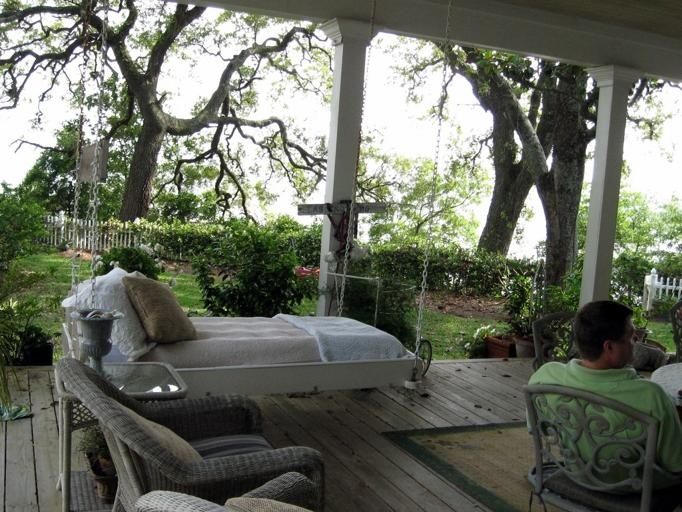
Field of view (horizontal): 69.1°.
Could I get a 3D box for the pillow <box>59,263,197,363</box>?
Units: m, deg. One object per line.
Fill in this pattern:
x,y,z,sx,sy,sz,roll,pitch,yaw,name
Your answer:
-1.623,0.395,3.802,0.698,0.680,0.864,5,1,-34,pillow

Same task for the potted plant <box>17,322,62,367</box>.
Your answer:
-3.048,0.907,4.955,0.290,0.407,0.256,0,7,-36,potted plant

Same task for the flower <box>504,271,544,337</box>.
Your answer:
2.790,0.752,7.592,0.601,1.179,0.554,3,3,28,flower
